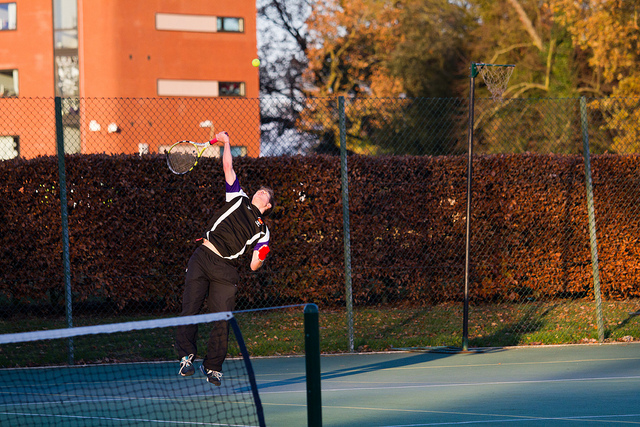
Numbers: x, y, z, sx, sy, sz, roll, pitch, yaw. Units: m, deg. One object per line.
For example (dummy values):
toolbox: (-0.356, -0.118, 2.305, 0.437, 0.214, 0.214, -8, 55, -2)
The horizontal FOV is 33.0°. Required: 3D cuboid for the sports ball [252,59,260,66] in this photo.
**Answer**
sports ball: (-1.663, -3.986, 28.255, 0.157, 0.169, 0.193, 10, -18, 35)
